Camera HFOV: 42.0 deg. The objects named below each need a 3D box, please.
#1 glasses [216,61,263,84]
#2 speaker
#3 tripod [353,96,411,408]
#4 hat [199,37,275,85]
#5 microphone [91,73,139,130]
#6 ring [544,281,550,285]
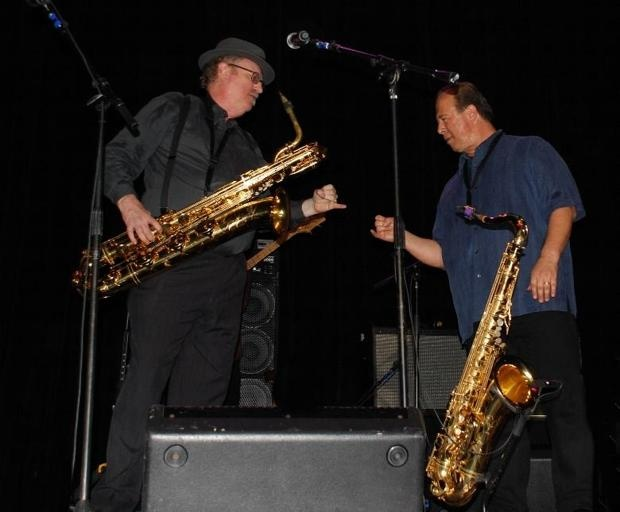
[{"bbox_3d":[-0.410,-1.141,5.012,0.170,0.048,0.160,23,2,5],"label":"glasses"},{"bbox_3d":[0.799,0.813,5.833,0.729,0.656,0.389,1,-11,-3],"label":"speaker"},{"bbox_3d":[0.430,-0.438,4.989,0.253,2.711,0.288,-5,-10,18],"label":"tripod"},{"bbox_3d":[-0.458,-1.267,5.085,0.399,0.134,0.321,13,-12,-5],"label":"hat"},{"bbox_3d":[-1.095,-0.832,4.598,0.229,0.207,0.414,0,-1,-7],"label":"microphone"},{"bbox_3d":[1.260,0.145,4.287,0.017,0.016,0.006,-4,-12,21],"label":"ring"}]
